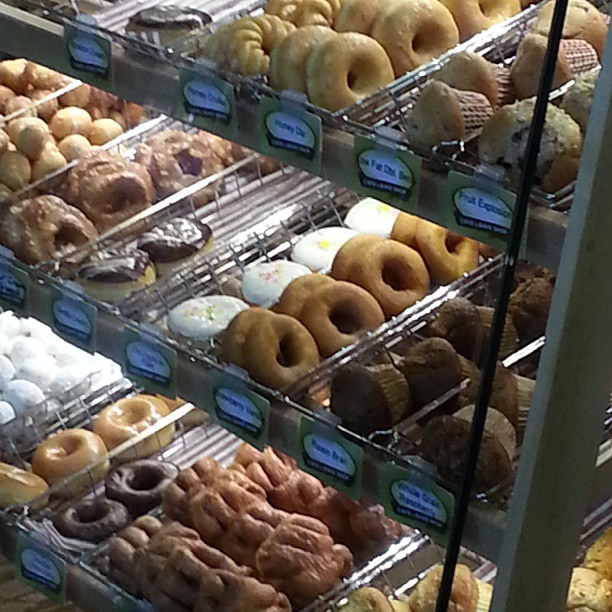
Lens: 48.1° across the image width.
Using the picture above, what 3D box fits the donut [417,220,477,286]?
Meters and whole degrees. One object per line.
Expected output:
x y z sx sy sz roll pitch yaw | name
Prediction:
0.298 -0.103 1.482 0.136 0.046 0.135 33 50 -12 | donut

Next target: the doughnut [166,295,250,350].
-0.220 0.025 1.571 0.134 0.043 0.162 24 53 20 | doughnut

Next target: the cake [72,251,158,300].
-0.489 -0.078 1.714 0.177 0.116 0.082 6 11 0 | cake

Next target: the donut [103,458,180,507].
-0.464 0.497 1.932 0.189 0.095 0.128 10 11 19 | donut

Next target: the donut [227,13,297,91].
-0.095 -0.516 1.373 0.122 0.153 0.142 7 11 1 | donut

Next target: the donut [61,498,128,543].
-0.599 0.590 1.905 0.212 0.066 0.207 -5 -7 20 | donut

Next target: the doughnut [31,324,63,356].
-0.854 0.117 2.267 0.085 0.033 0.118 18 34 -32 | doughnut

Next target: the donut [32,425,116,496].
-0.698 0.441 2.019 0.222 0.085 0.189 1 39 8 | donut

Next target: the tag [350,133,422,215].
0.131 -0.216 1.096 0.149 0.103 0.003 31 46 33 | tag

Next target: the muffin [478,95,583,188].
0.343 -0.250 1.033 0.127 0.134 0.109 3 11 -15 | muffin

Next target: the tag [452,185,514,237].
0.266 -0.136 0.987 0.014 0.063 0.120 -17 34 -33 | tag

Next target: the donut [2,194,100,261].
-0.691 -0.206 1.823 0.259 0.173 0.131 10 12 23 | donut

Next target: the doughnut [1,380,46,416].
-0.905 0.285 2.186 0.150 0.082 0.086 10 11 19 | doughnut

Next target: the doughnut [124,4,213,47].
-0.289 -0.614 1.488 0.150 0.037 0.158 26 44 30 | doughnut

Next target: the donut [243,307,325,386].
-0.043 0.074 1.359 0.156 0.056 0.146 1 63 -30 | donut

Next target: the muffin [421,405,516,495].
0.257 0.224 1.092 0.146 0.118 0.097 10 11 20 | muffin

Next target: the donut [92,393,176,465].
-0.512 0.359 2.043 0.208 0.079 0.203 18 37 14 | donut

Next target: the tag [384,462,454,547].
0.181 0.313 1.104 0.146 0.002 0.130 28 36 -12 | tag

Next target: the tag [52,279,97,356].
-0.563 0.021 1.675 0.191 0.184 0.008 32 43 25 | tag

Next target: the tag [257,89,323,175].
-0.027 -0.309 1.197 0.177 0.136 0.023 25 47 20 | tag

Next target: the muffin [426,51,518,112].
0.295 -0.382 1.204 0.116 0.051 0.129 14 40 -2 | muffin

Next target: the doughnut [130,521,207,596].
-0.346 0.576 1.603 0.169 0.069 0.169 -51 23 -20 | doughnut

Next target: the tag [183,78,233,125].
-0.187 -0.393 1.308 0.099 0.082 0.024 31 45 26 | tag

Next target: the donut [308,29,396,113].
0.079 -0.423 1.231 0.181 0.163 0.063 2 -3 -25 | donut

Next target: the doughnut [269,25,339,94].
-0.008 -0.456 1.305 0.048 0.129 0.147 14 16 39 | doughnut

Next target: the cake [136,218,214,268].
-0.363 -0.195 1.803 0.150 0.044 0.151 -31 46 -26 | cake

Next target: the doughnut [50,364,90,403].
-0.757 0.247 2.210 0.115 0.087 0.123 1 12 -25 | doughnut

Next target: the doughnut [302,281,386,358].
0.074 0.029 1.401 0.168 0.146 0.083 6 11 0 | doughnut
